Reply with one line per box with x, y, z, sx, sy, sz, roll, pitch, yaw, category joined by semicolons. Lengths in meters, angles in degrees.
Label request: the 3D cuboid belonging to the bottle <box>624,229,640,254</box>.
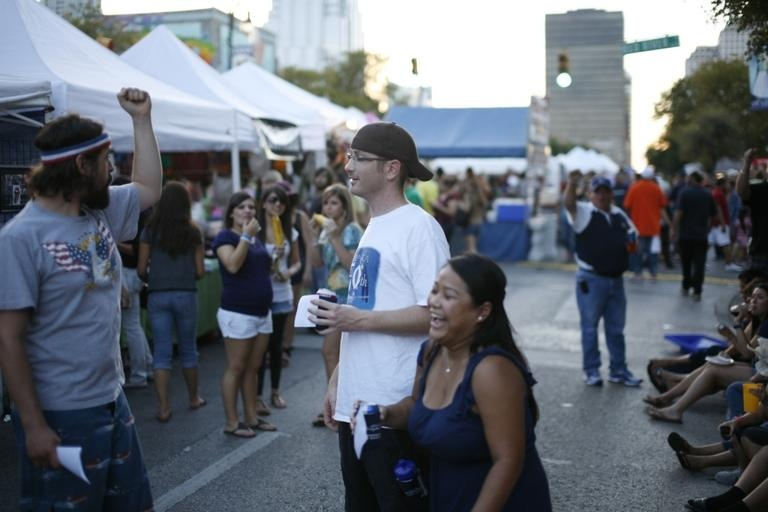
3.248;-0.199;11.081;0.229;0.341;0.177;35;-45;-30;bottle

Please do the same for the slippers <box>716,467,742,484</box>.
3.434;2.211;8.404;0.211;0.101;0.170;-12;-3;-18;slippers

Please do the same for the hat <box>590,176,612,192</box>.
2.739;-0.916;10.772;0.214;0.192;0.390;-1;-6;6;hat

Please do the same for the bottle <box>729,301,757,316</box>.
4.122;0.633;9.733;0.234;0.135;0.324;17;-24;-27;bottle

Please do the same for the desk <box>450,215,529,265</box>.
2.783;-0.330;20.879;1.366;0.854;1.531;0;2;6;desk

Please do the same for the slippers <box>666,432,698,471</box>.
3.042;2.007;8.622;0.169;0.505;0.113;-22;0;6;slippers

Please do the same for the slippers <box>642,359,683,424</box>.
3.443;1.458;10.305;0.377;1.128;0.330;6;-29;19;slippers

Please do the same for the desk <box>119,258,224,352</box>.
-2.912;0.733;12.131;1.578;1.060;1.210;1;13;-15;desk

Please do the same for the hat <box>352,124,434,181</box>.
0.102;-0.874;6.752;0.668;0.445;0.485;11;8;-18;hat

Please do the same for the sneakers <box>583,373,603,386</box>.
2.683;1.605;10.849;0.098;0.131;0.273;1;-7;-8;sneakers

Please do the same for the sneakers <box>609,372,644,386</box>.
3.122;1.554;10.857;0.405;0.239;0.165;4;2;22;sneakers
